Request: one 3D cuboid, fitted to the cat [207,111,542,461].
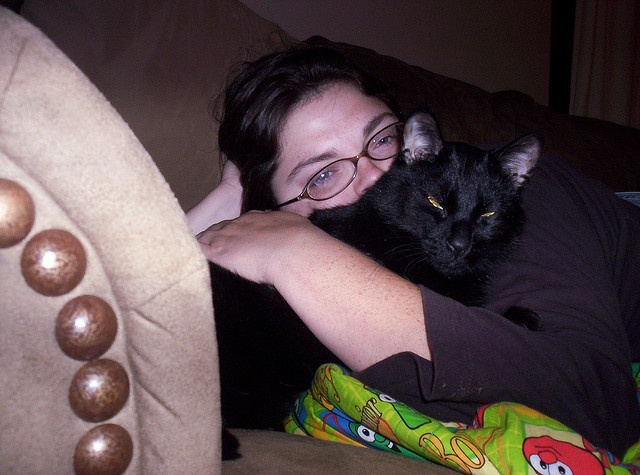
[{"bbox_3d":[0.375,0.004,1.659,1.359,0.743,0.413,-13,18,-19],"label":"cat"}]
